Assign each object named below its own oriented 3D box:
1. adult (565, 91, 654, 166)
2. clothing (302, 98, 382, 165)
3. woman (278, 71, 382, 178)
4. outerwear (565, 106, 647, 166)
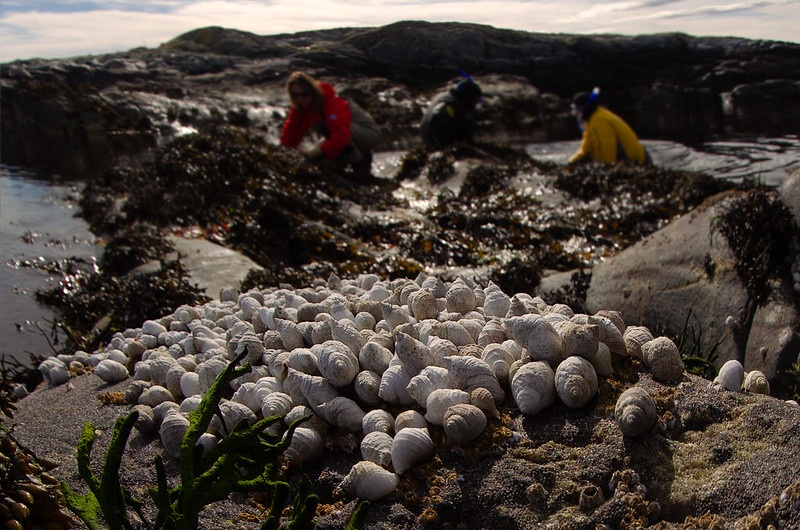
[{"bbox_3d":[1.622,-1.094,5.192,0.556,0.694,0.619,-30,25,-33],"label":"adult"},{"bbox_3d":[-0.526,-1.121,5.496,0.604,0.626,0.505,6,5,-8],"label":"clothing"},{"bbox_3d":[-0.582,-1.211,5.518,0.806,0.908,0.621,-16,21,-35],"label":"woman"},{"bbox_3d":[1.722,-1.051,5.172,0.568,0.571,0.409,-12,17,8],"label":"outerwear"}]
